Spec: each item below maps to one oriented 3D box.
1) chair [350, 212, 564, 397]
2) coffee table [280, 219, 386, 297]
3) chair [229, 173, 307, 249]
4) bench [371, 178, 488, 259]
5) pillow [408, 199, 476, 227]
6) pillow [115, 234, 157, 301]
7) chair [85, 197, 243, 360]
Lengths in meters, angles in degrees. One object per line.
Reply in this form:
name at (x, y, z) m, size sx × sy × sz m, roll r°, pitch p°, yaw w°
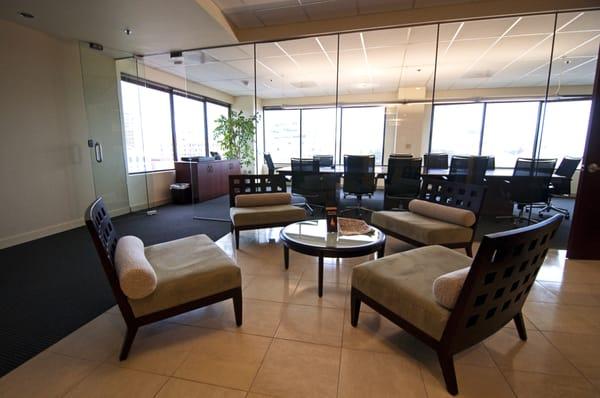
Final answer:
chair at (1.507, 0.794, 4.407) m, size 2.115 × 1.642 × 1.868 m, roll -9°, pitch 16°, yaw -38°
coffee table at (0.377, 0.537, 4.660) m, size 1.041 × 0.396 × 0.998 m, roll 6°, pitch 18°, yaw 20°
chair at (-0.532, 0.177, 5.876) m, size 1.118 × 0.825 × 0.787 m, roll -10°, pitch 2°, yaw -8°
bench at (1.791, 0.261, 5.519) m, size 0.999 × 0.894 × 1.242 m, roll -8°, pitch 13°, yaw -27°
pillow at (2.042, 0.221, 5.427) m, size 0.318 × 0.292 × 1.207 m, roll 8°, pitch 0°, yaw -44°
pillow at (-1.648, 0.766, 4.235) m, size 0.398 × 0.337 × 0.817 m, roll 1°, pitch 14°, yaw -2°
chair at (-1.549, 0.711, 4.533) m, size 1.827 × 1.218 × 1.737 m, roll -1°, pitch 13°, yaw -6°
